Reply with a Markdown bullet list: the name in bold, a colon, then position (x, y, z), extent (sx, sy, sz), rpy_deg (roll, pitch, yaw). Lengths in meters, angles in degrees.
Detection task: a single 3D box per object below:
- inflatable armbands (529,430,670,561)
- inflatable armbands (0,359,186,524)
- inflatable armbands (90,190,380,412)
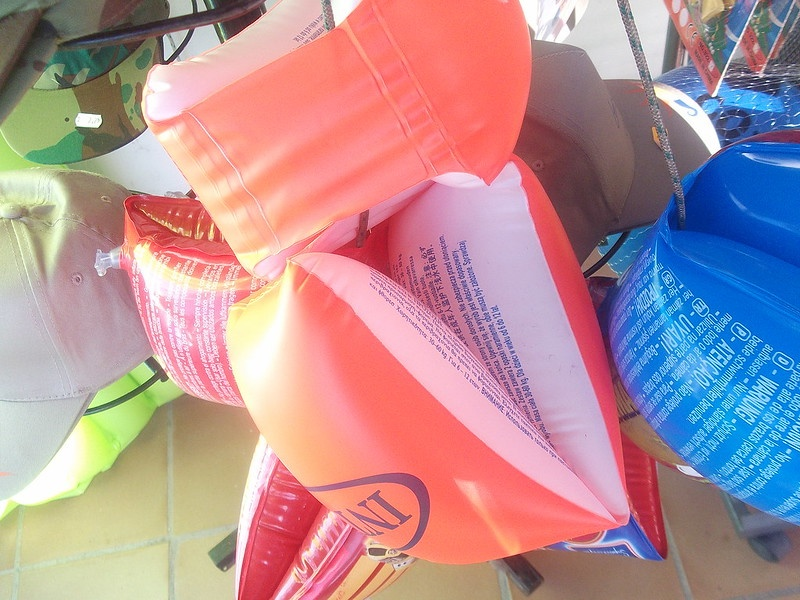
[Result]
- **inflatable armbands**: position (0.371, 0.327, 1.092), extent (0.073, 0.241, 0.206), rpy_deg (1, -5, -20)
- **inflatable armbands**: position (-0.865, 0.395, 1.843), extent (0.609, 0.173, 0.377), rpy_deg (-54, 24, -6)
- **inflatable armbands**: position (-0.332, 0.089, 1.290), extent (0.513, 0.222, 0.409), rpy_deg (25, 57, 34)
